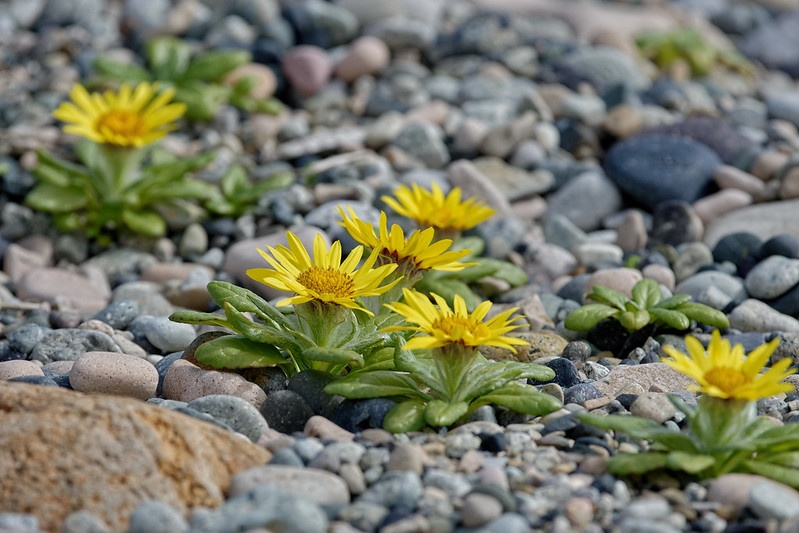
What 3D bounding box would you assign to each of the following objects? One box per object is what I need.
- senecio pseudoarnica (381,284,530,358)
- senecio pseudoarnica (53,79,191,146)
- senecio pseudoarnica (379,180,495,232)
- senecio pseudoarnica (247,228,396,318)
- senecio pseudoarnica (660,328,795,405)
[{"bbox_3d":[0.345,0.288,4.377,0.678,0.158,0.626,16,17,30],"label":"senecio pseudoarnica"},{"bbox_3d":[-1.737,-0.923,5.684,0.591,0.217,0.587,20,39,22],"label":"senecio pseudoarnica"},{"bbox_3d":[0.243,-0.304,5.613,0.602,0.629,0.244,10,78,-46],"label":"senecio pseudoarnica"},{"bbox_3d":[-0.385,0.044,4.549,0.528,0.186,0.534,40,44,25],"label":"senecio pseudoarnica"},{"bbox_3d":[1.575,0.457,4.202,0.430,0.169,0.447,32,33,33],"label":"senecio pseudoarnica"}]
